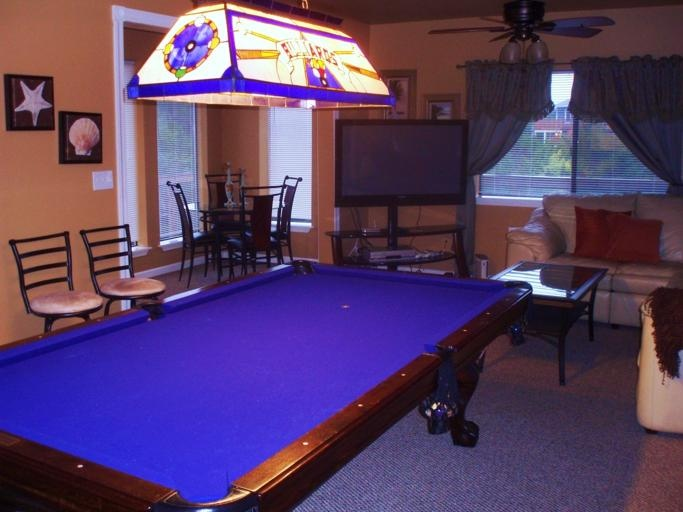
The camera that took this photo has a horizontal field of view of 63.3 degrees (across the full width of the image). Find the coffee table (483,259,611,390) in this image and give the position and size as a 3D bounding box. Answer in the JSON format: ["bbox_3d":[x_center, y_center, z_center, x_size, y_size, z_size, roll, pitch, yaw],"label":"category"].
[{"bbox_3d":[1.626,0.435,4.512,0.827,0.721,1.188,6,12,36],"label":"coffee table"}]

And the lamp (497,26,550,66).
[{"bbox_3d":[1.373,-1.600,4.236,0.322,0.225,0.353,1,13,4],"label":"lamp"}]

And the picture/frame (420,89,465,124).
[{"bbox_3d":[1.193,-1.753,6.446,0.552,0.541,0.059,5,12,21],"label":"picture/frame"}]

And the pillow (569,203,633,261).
[{"bbox_3d":[2.443,-0.215,5.416,0.524,0.497,0.166,4,-1,34],"label":"pillow"}]

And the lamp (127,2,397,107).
[{"bbox_3d":[-0.257,-0.739,2.034,0.946,0.323,0.453,-7,15,-31],"label":"lamp"}]

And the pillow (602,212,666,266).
[{"bbox_3d":[2.763,-0.162,5.267,0.461,0.434,0.255,6,14,24],"label":"pillow"}]
